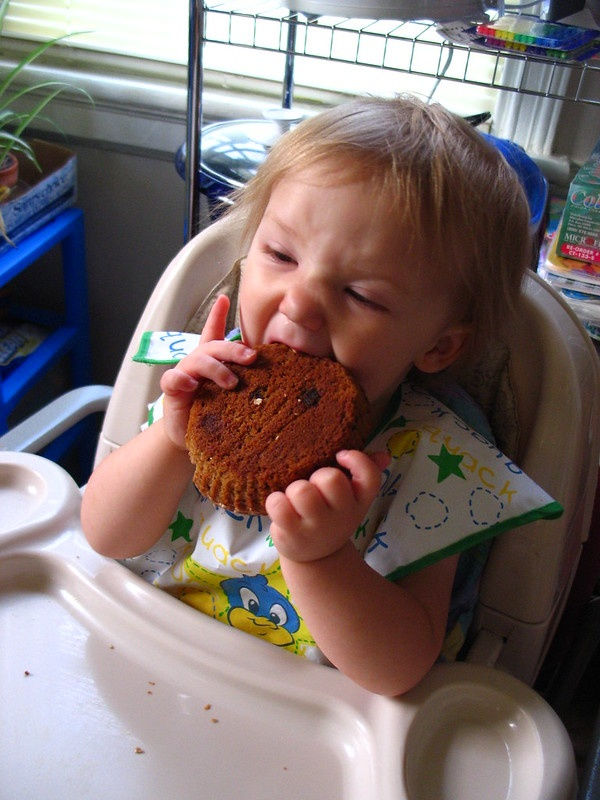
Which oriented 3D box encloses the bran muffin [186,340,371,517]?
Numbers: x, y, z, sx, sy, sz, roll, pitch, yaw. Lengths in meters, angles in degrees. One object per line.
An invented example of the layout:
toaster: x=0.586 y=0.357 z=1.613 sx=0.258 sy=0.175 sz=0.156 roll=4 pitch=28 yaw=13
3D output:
bran muffin: x=-0.019 y=0.023 z=0.485 sx=0.118 sy=0.088 sz=0.121 roll=-5 pitch=29 yaw=-21

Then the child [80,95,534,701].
child: x=-0.017 y=0.017 z=0.649 sx=0.405 sy=0.538 sz=0.336 roll=7 pitch=14 yaw=2
